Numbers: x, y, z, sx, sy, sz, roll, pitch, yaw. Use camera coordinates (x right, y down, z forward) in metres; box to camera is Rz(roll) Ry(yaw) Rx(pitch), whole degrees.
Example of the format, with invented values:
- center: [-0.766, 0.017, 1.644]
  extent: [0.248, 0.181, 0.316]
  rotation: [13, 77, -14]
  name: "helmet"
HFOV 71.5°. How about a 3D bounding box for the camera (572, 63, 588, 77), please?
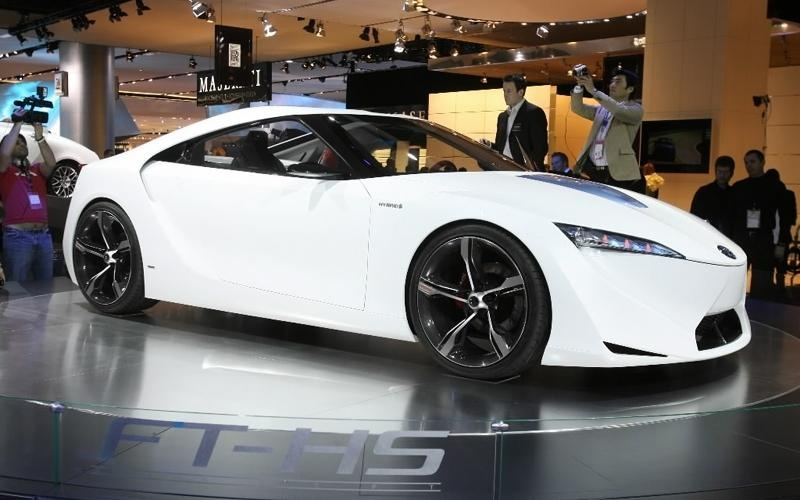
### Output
- center: [1.737, -1.726, 5.347]
  extent: [0.127, 0.114, 0.152]
  rotation: [3, 9, 13]
  name: "camera"
